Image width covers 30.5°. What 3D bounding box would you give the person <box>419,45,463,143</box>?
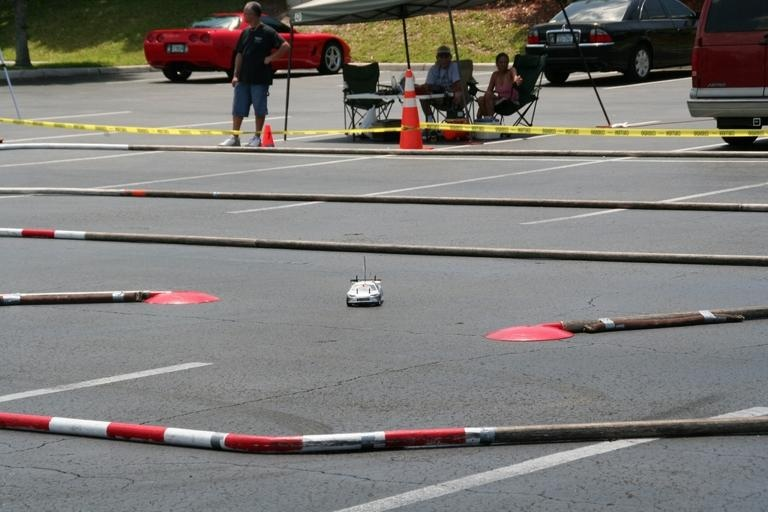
[{"bbox_3d":[0.863,-2.715,21.971,0.685,1.238,0.977,-4,15,-7],"label":"person"}]

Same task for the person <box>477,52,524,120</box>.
[{"bbox_3d":[1.809,-2.728,22.034,0.765,1.017,0.711,6,17,25],"label":"person"}]

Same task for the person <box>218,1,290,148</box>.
[{"bbox_3d":[-1.983,-2.823,21.402,1.007,2.216,1.449,-3,15,-5],"label":"person"}]
